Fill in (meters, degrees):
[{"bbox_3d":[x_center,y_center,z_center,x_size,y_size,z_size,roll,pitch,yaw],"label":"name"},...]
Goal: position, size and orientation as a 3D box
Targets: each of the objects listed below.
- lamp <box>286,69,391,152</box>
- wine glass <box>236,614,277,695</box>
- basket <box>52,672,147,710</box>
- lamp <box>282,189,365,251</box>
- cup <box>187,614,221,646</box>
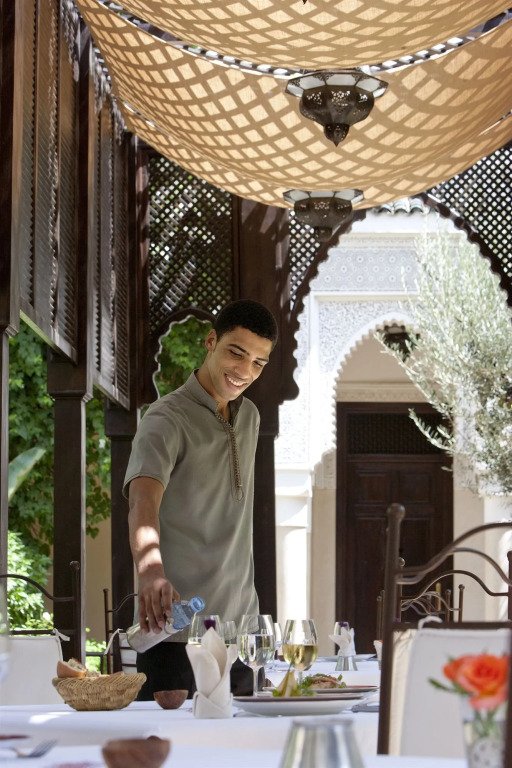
[{"bbox_3d":[0.222,-0.717,3.281,0.272,0.174,0.281,-2,5,-23],"label":"lamp"},{"bbox_3d":[0.005,0.447,2.024,0.053,0.142,0.054,0,0,5],"label":"wine glass"},{"bbox_3d":[-0.242,0.471,1.897,0.076,0.035,0.080,-3,-21,-7],"label":"basket"},{"bbox_3d":[0.220,-0.554,3.960,0.198,0.155,0.186,3,-7,-37],"label":"lamp"},{"bbox_3d":[-0.083,0.380,1.925,0.041,0.048,0.049,0,-7,0],"label":"cup"}]
